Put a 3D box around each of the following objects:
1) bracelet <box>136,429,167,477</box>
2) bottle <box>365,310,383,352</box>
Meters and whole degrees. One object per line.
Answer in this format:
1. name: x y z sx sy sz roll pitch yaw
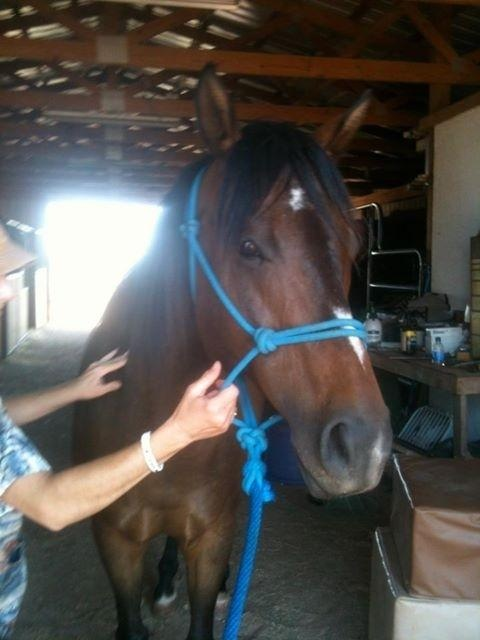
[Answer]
1. bracelet: -0.174 0.261 1.146 0.050 0.076 0.072 -22 55 -17
2. bottle: 0.877 0.065 3.751 0.128 0.231 0.093 0 -15 1
